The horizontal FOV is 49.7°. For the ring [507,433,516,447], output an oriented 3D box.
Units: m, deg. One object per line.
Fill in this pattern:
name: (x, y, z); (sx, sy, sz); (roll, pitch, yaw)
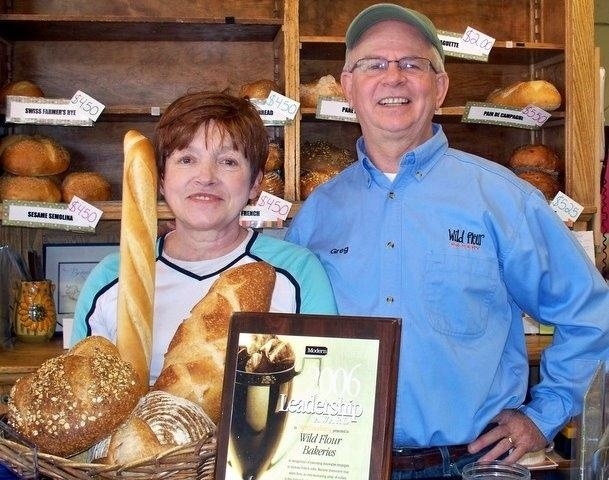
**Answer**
ring: (0.533, 0.519, 1.693); (0.009, 0.040, 0.010); (-16, -7, -10)
